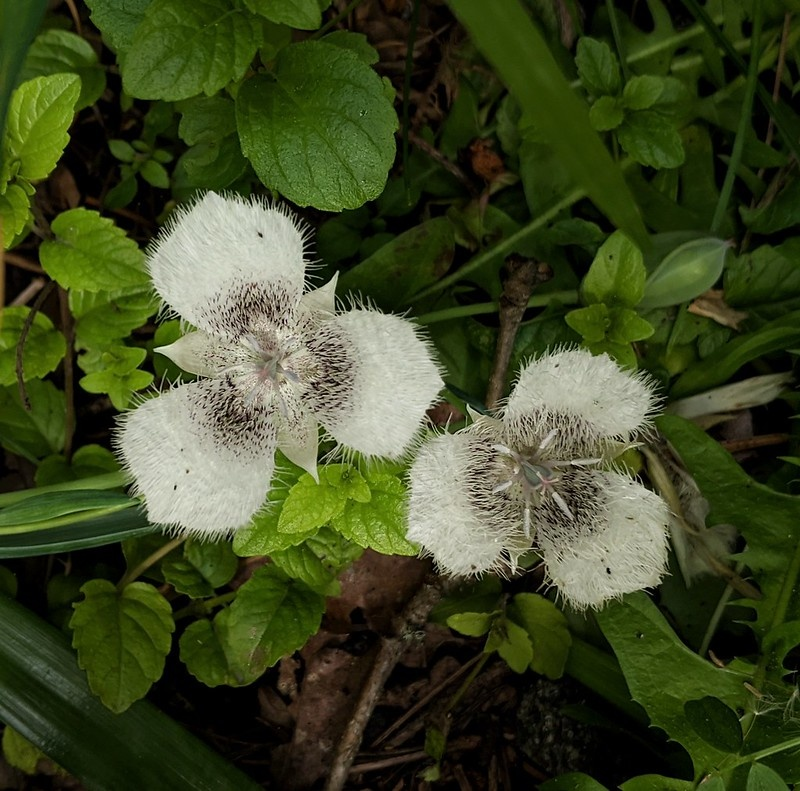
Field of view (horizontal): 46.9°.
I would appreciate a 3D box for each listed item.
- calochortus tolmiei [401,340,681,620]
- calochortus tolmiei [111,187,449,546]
[{"bbox_3d":[0.267,0.153,1.667,0.580,0.161,0.471,12,97,-2],"label":"calochortus tolmiei"},{"bbox_3d":[-0.312,-0.066,1.728,0.621,0.177,0.585,-30,83,-3],"label":"calochortus tolmiei"}]
